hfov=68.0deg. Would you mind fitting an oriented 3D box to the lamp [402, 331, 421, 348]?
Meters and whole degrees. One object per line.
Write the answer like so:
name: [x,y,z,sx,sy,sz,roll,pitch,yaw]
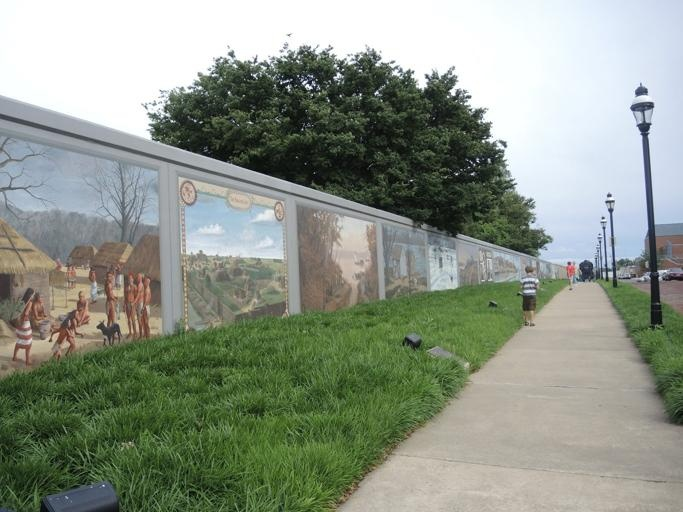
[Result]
lamp: [1.253,1.450,8.769,0.195,0.151,0.199,14,22,43]
